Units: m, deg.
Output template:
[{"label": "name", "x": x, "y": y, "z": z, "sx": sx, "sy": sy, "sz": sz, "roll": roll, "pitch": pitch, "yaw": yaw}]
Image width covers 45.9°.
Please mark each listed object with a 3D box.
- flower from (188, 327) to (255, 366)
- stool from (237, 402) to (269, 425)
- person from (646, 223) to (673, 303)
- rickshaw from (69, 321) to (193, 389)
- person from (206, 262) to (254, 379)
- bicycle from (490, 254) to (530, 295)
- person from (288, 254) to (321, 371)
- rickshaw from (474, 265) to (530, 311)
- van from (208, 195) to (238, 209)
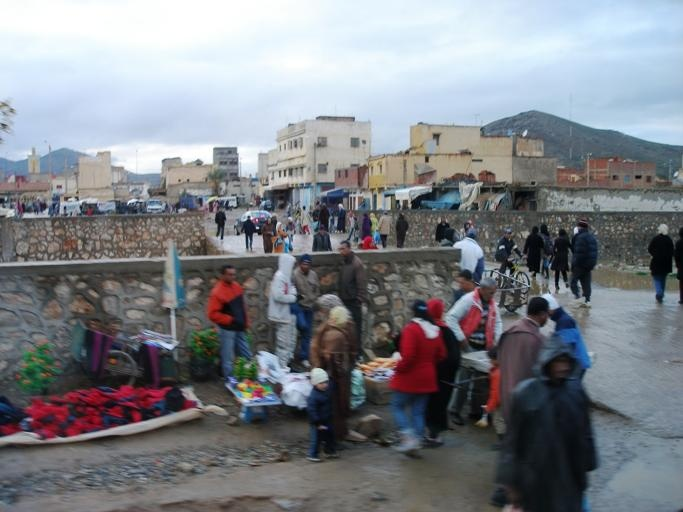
[{"label": "flower", "x": -1.906, "y": 1.319, "z": 12.173, "sx": 0.598, "sy": 0.496, "sz": 0.602, "roll": 3, "pitch": 6, "yaw": 39}, {"label": "stool", "x": -1.214, "y": 2.107, "z": 11.107, "sx": 0.292, "sy": 0.237, "sz": 0.300, "roll": 0, "pitch": 11, "yaw": -12}, {"label": "person", "x": 6.916, "y": 0.112, "z": 17.418, "sx": 0.550, "sy": 1.714, "sz": 0.707, "roll": 0, "pitch": 1, "yaw": 31}, {"label": "rickshaw", "x": -3.057, "y": 1.410, "z": 11.481, "sx": 1.407, "sy": 0.967, "sz": 0.745, "roll": -2, "pitch": 2, "yaw": -12}, {"label": "person", "x": -1.722, "y": 0.873, "z": 11.952, "sx": 0.581, "sy": 1.712, "sz": 0.595, "roll": 0, "pitch": 8, "yaw": -41}, {"label": "bicycle", "x": 3.605, "y": 0.404, "z": 17.226, "sx": 0.667, "sy": 0.831, "sz": 1.251, "roll": -1, "pitch": 2, "yaw": -44}, {"label": "person", "x": -0.564, "y": 0.817, "z": 12.573, "sx": 0.458, "sy": 1.647, "sz": 0.496, "roll": 7, "pitch": 10, "yaw": 37}, {"label": "rickshaw", "x": 3.565, "y": 0.658, "z": 16.855, "sx": 1.098, "sy": 1.245, "sz": 1.020, "roll": -5, "pitch": 8, "yaw": -22}, {"label": "van", "x": -10.948, "y": -4.837, "z": 74.813, "sx": 2.440, "sy": 0.969, "sz": 1.607, "roll": -2, "pitch": 7, "yaw": -9}]
